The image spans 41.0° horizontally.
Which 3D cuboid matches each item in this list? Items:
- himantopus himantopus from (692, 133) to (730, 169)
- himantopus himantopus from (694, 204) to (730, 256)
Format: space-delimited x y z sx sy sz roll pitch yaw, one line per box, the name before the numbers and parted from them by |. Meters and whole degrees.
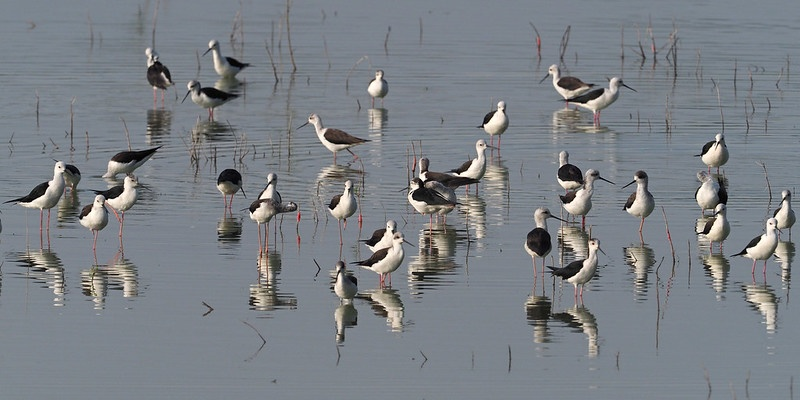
himantopus himantopus | 12.327 -1.908 42.005 0.976 1.382 1.602 4 4 14
himantopus himantopus | 10.835 0.955 37.044 1.009 1.674 1.254 4 4 12
